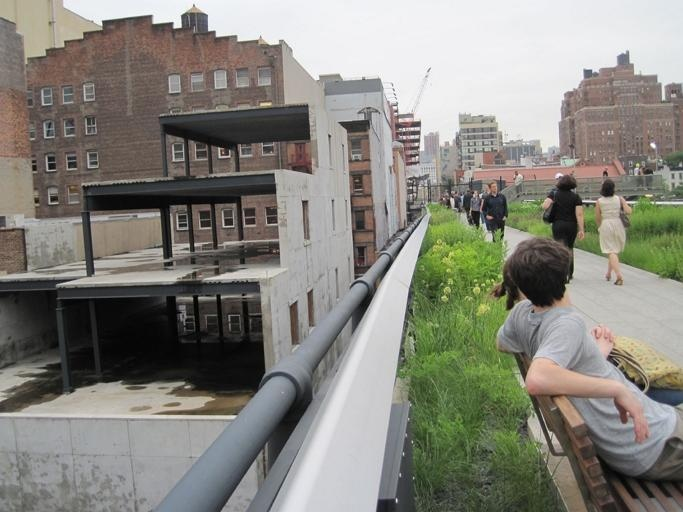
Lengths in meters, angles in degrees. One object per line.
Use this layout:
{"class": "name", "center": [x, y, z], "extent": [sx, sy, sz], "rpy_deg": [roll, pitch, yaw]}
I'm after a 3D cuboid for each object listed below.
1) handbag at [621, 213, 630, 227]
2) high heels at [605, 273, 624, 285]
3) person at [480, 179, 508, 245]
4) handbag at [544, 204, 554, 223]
{"class": "handbag", "center": [5.855, -0.755, 11.863], "extent": [0.162, 0.310, 0.323], "rpy_deg": [2, 5, 39]}
{"class": "high heels", "center": [5.735, 0.500, 12.039], "extent": [0.147, 0.234, 0.518], "rpy_deg": [-6, -9, 2]}
{"class": "person", "center": [4.798, -1.234, 17.855], "extent": [0.687, 2.168, 0.566], "rpy_deg": [-9, 17, 0]}
{"class": "handbag", "center": [4.284, -0.904, 11.912], "extent": [0.124, 0.346, 0.279], "rpy_deg": [5, 13, 0]}
